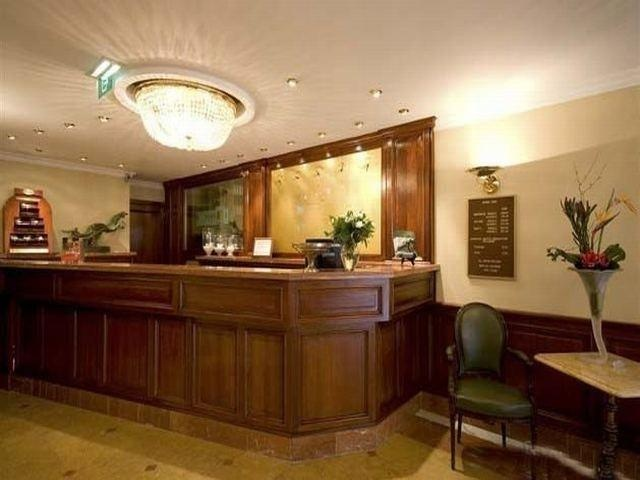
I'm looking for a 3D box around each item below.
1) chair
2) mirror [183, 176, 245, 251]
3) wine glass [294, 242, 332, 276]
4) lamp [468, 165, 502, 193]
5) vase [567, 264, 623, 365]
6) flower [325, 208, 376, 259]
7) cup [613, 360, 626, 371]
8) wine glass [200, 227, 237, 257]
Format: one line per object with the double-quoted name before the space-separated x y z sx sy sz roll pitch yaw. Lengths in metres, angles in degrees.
"chair" 1.777 1.495 4.870 0.833 1.538 0.778 -1 1 16
"mirror" -1.979 -0.508 8.829 0.175 1.247 1.342 4 -6 -44
"wine glass" -0.075 0.203 4.994 0.299 0.268 0.333 -4 -4 23
"lamp" 2.049 -0.745 5.666 0.282 0.149 0.367 10 -22 15
"vase" 2.812 0.742 4.749 0.401 0.979 0.950 0 2 32
"flower" 0.358 -0.100 5.186 0.405 0.475 0.468 6 5 -11
"cup" 2.763 1.160 4.285 0.063 0.093 0.092 0 -3 9
"wine glass" -1.806 0.028 8.387 0.510 0.355 0.182 3 4 30
